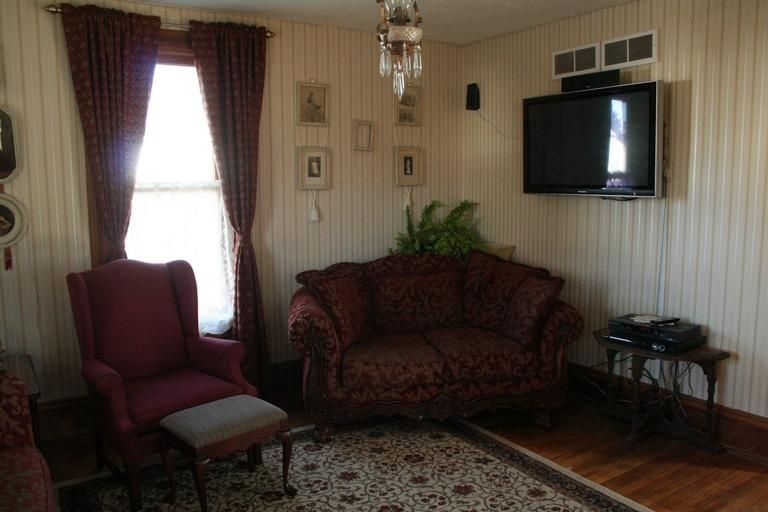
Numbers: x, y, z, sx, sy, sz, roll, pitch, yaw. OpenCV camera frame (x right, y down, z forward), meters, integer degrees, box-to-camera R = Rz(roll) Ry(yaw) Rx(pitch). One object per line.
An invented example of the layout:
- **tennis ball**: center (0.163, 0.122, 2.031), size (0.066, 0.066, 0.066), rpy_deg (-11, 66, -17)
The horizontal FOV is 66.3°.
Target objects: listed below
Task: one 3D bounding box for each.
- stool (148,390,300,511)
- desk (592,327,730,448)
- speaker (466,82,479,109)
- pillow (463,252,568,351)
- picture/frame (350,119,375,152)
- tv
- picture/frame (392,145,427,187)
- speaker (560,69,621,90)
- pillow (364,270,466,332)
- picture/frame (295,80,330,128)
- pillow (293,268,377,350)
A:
- **stool**: center (-1.143, 1.143, 4.251), size (0.908, 0.791, 0.739), rpy_deg (-9, 17, -41)
- **desk**: center (2.198, 1.094, 4.952), size (0.612, 0.743, 1.138), rpy_deg (-2, 6, -34)
- **speaker**: center (0.949, -1.682, 6.250), size (0.164, 0.281, 0.133), rpy_deg (2, 11, 17)
- **pillow**: center (1.263, 0.470, 5.459), size (0.238, 0.762, 0.780), rpy_deg (21, 0, -37)
- **picture/frame**: center (-0.229, -1.216, 5.931), size (0.324, 0.357, 0.056), rpy_deg (-4, 7, -36)
- **tv**: center (1.896, -1.015, 5.170), size (0.154, 0.798, 1.108), rpy_deg (-3, 4, -44)
- **picture/frame**: center (0.251, -0.943, 6.191), size (0.436, 0.435, 0.050), rpy_deg (-3, 5, -33)
- **speaker**: center (1.859, -1.555, 5.222), size (0.303, 0.100, 0.044), rpy_deg (-3, -8, 40)
- **pillow**: center (0.306, 0.430, 5.474), size (0.870, 0.490, 0.236), rpy_deg (-5, 0, -11)
- **picture/frame**: center (-0.703, -1.467, 5.664), size (0.454, 0.512, 0.040), rpy_deg (-4, 6, -32)
- **pillow**: center (-0.436, 0.437, 5.204), size (0.198, 0.670, 0.575), rpy_deg (-31, -20, 32)
